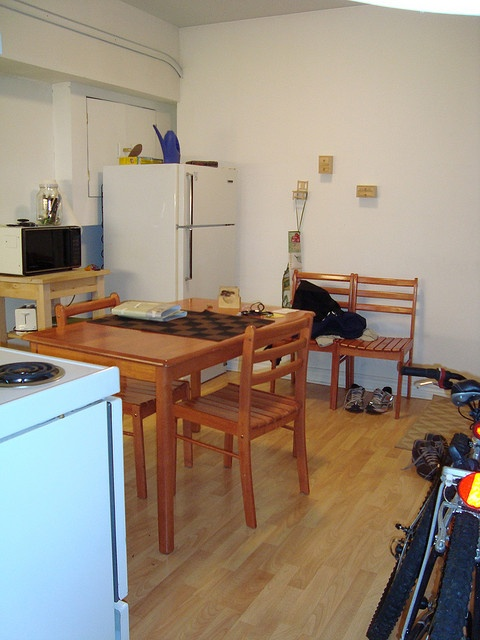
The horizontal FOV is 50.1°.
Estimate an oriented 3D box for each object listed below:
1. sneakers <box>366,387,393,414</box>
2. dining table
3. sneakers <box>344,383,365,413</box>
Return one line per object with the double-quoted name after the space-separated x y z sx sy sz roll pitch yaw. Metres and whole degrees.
0.970 0.563 3.578 0.104 0.138 0.310 3 2 29 "sneakers"
-0.309 0.360 2.419 1.153 0.789 1.203 -6 11 -37 "dining table"
0.816 0.561 3.677 0.087 0.099 0.250 5 3 8 "sneakers"
